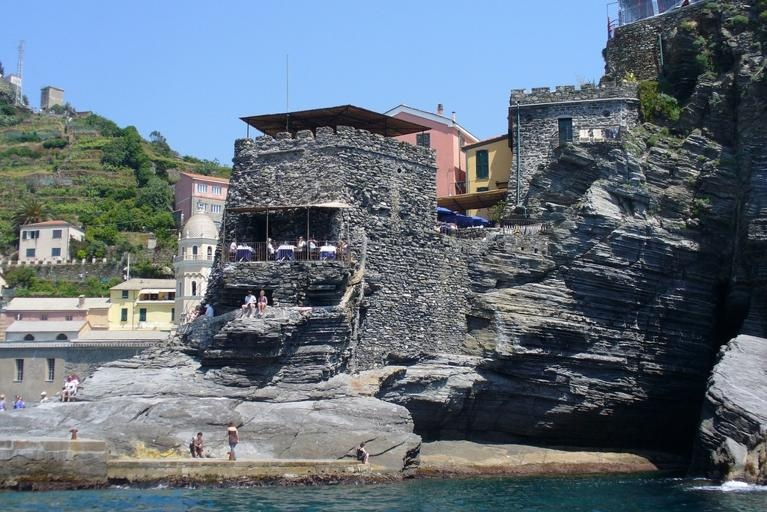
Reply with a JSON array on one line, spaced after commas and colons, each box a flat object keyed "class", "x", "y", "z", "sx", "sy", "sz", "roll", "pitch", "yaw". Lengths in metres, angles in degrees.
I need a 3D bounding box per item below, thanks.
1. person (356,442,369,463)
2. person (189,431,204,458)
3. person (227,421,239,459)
[{"class": "person", "x": -0.860, "y": 8.673, "z": 46.365, "sx": 0.722, "sy": 0.732, "sz": 0.441, "roll": -1, "pitch": 3, "yaw": 33}, {"class": "person", "x": -8.141, "y": 8.077, "z": 45.333, "sx": 0.666, "sy": 1.026, "sz": 0.778, "roll": 5, "pitch": 11, "yaw": -9}, {"class": "person", "x": -6.589, "y": 7.965, "z": 45.340, "sx": 0.551, "sy": 1.394, "sz": 1.008, "roll": 6, "pitch": 11, "yaw": -7}]
